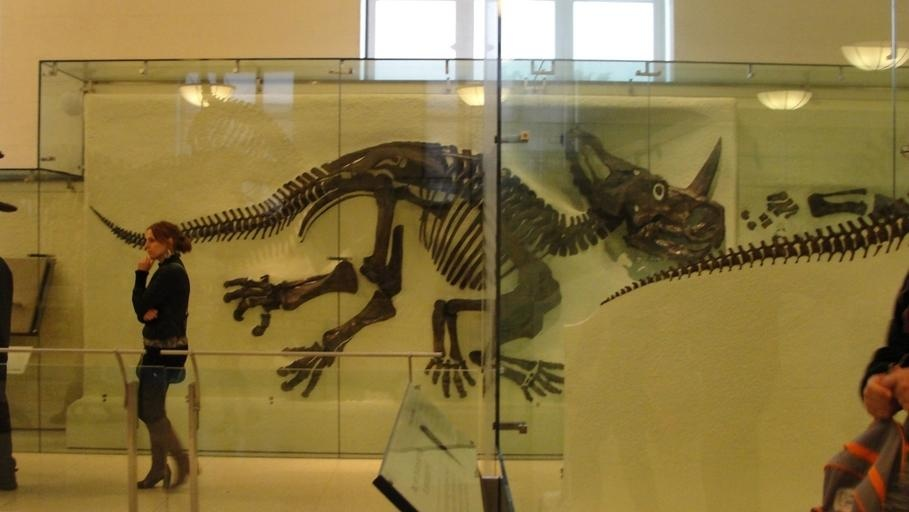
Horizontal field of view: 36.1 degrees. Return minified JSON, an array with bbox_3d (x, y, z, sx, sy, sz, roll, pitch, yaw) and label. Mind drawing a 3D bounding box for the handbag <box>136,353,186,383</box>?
[{"bbox_3d":[-1.886,0.721,9.054,0.266,0.153,0.253,0,-6,-5],"label":"handbag"}]
